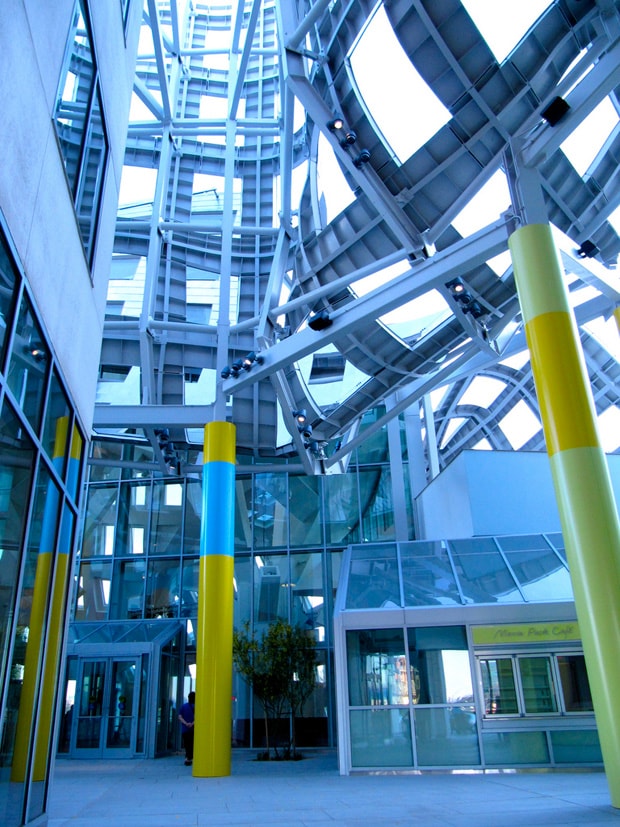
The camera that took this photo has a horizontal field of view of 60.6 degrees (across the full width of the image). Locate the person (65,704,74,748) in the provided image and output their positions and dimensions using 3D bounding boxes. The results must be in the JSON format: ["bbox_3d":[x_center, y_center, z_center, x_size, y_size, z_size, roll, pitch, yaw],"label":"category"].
[{"bbox_3d":[-8.130,10.597,17.861,0.196,1.189,0.529,10,-27,-29],"label":"person"}]
